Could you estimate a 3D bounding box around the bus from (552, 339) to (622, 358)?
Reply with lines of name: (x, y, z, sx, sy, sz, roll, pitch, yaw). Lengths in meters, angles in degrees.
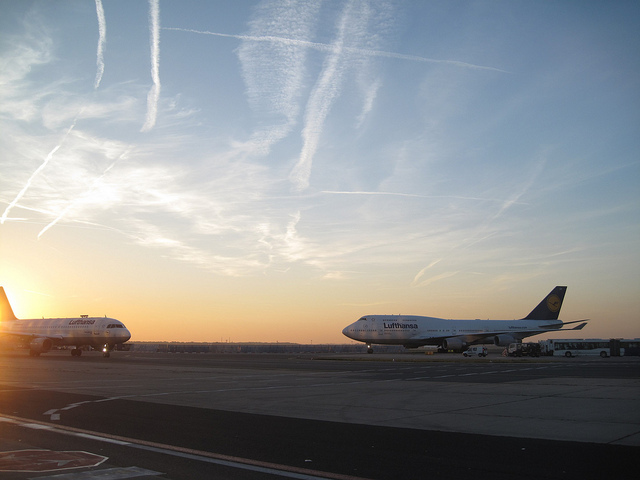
bus: (36.905, 15.132, 77.517, 8.473, 2.290, 5.585, -2, -10, 21)
